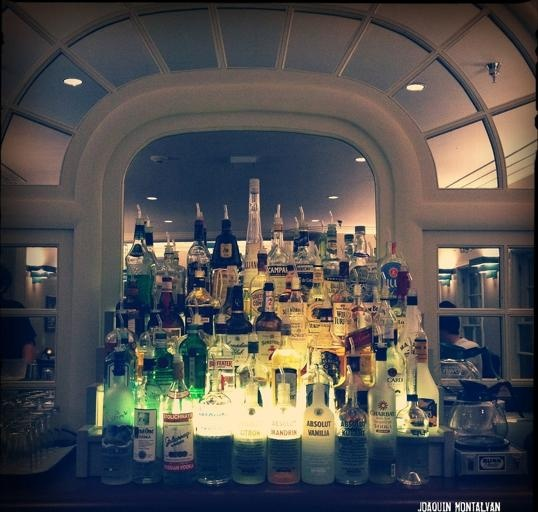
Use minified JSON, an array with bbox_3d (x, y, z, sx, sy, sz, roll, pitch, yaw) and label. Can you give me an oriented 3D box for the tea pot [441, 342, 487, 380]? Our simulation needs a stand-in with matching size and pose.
[{"bbox_3d":[0.727,0.389,2.322,0.146,0.154,0.106,-4,-6,43],"label":"tea pot"}]
